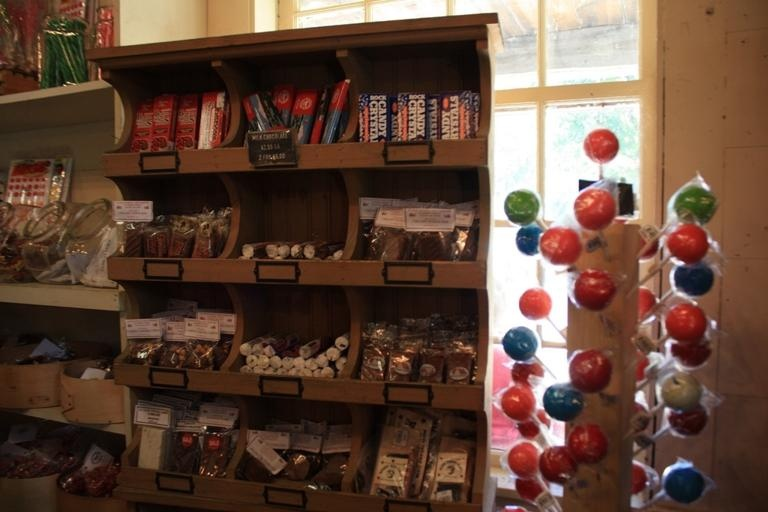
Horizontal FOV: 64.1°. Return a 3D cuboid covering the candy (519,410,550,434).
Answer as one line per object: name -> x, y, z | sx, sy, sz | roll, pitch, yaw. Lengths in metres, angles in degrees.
candy -> 0.690, 0.761, 2.864 | 0.083, 0.138, 0.065 | 54, -4, -31

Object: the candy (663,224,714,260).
candy -> 1.231, -0.048, 2.510 | 0.170, 0.155, 0.149 | 2, -13, 11

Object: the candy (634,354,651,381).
candy -> 1.146, 0.500, 2.729 | 0.055, 0.136, 0.219 | 1, -4, 23

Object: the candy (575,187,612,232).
candy -> 0.875, -0.204, 2.650 | 0.161, 0.166, 0.164 | -5, 10, 8

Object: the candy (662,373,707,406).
candy -> 1.248, 0.573, 2.604 | 0.138, 0.142, 0.141 | 0, -5, -14

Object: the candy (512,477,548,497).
candy -> 0.662, 1.062, 2.806 | 0.086, 0.091, 0.114 | 5, -8, -40

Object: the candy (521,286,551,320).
candy -> 0.692, 0.219, 2.827 | 0.139, 0.151, 0.079 | 2, -4, 6

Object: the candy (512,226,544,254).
candy -> 0.662, -0.077, 2.829 | 0.120, 0.140, 0.122 | 1, 5, 9

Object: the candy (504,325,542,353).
candy -> 0.624, 0.378, 2.787 | 0.126, 0.124, 0.120 | 1, -3, 26

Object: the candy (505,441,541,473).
candy -> 0.618, 0.910, 2.789 | 0.130, 0.154, 0.132 | 1, 7, 3

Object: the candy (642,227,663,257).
candy -> 1.145, -0.062, 2.660 | 0.073, 0.137, 0.066 | 1, -4, 23

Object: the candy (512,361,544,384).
candy -> 0.655, 0.541, 2.837 | 0.105, 0.055, 0.106 | -4, 11, -10

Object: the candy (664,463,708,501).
candy -> 1.289, 0.977, 2.645 | 0.159, 0.162, 0.093 | -8, -5, 1

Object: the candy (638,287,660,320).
candy -> 1.165, 0.212, 2.723 | 0.078, 0.140, 0.137 | 1, -4, 22

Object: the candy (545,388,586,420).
candy -> 0.778, 0.641, 2.667 | 0.171, 0.170, 0.071 | 3, -4, -5

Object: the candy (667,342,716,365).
candy -> 1.294, 0.415, 2.602 | 0.154, 0.108, 0.054 | 1, -4, 20

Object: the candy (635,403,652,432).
candy -> 1.146, 0.718, 2.740 | 0.062, 0.107, 0.168 | 1, -4, 23

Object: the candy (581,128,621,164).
candy -> 0.957, -0.495, 2.724 | 0.131, 0.167, 0.081 | 3, -4, -10
